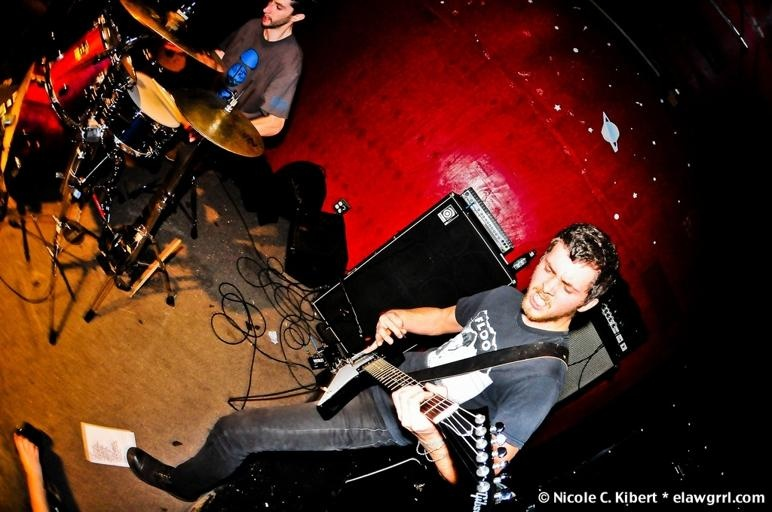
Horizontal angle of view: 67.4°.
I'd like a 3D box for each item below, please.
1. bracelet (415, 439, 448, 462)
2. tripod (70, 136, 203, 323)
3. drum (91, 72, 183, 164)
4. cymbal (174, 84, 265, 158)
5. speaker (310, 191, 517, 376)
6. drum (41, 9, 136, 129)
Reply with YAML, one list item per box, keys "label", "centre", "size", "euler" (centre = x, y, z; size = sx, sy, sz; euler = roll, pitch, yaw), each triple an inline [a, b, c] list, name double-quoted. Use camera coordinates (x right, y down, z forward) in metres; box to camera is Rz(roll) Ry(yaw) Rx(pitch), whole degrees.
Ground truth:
- label: "bracelet"
  centre: [0.298, 1.305, 3.921]
  size: [0.059, 0.241, 0.178]
  euler: [-14, 97, -52]
- label: "tripod"
  centre: [-2.205, -0.193, 5.085]
  size: [0.643, 1.094, 1.107]
  euler: [39, 51, -7]
- label: "drum"
  centre: [-1.911, -1.275, 4.872]
  size: [0.698, 0.251, 0.704]
  euler: [50, 9, -10]
- label: "cymbal"
  centre: [-1.392, -1.122, 4.893]
  size: [0.598, 0.201, 0.601]
  euler: [42, 33, -11]
- label: "speaker"
  centre: [0.270, 0.309, 6.136]
  size: [1.226, 2.243, 0.577]
  euler: [57, 8, 11]
- label: "drum"
  centre: [-2.450, -1.522, 4.783]
  size: [0.480, 0.818, 0.822]
  euler: [0, 35, -47]
